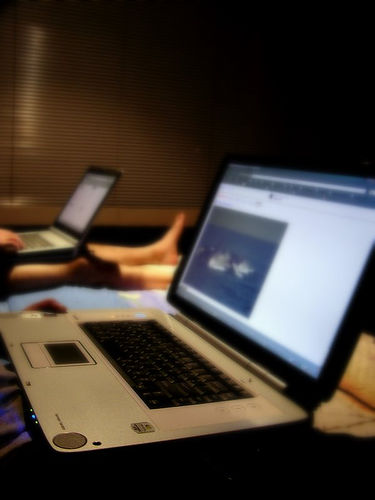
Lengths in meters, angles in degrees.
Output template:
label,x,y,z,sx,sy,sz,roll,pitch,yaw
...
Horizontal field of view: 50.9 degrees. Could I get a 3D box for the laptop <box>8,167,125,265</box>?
label,x,y,z,sx,sy,sz,roll,pitch,yaw
laptop,-0.327,-0.063,1.174,0.335,0.201,0.331,-3,22,-18
